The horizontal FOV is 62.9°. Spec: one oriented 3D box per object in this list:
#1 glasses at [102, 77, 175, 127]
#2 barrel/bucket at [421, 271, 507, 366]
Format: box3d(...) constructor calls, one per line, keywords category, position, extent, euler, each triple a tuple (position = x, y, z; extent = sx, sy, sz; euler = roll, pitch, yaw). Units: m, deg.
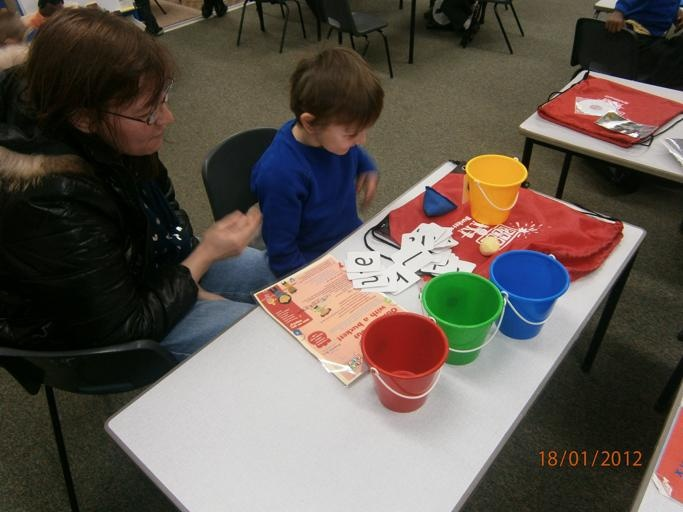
box3d(category="glasses", position=(-0.578, -0.427, 1.631), extent=(0.131, 0.042, 0.143), euler=(4, 71, 16))
box3d(category="barrel/bucket", position=(0.330, 0.137, 1.517), extent=(0.216, 0.181, 0.244), euler=(-1, 49, 4))
